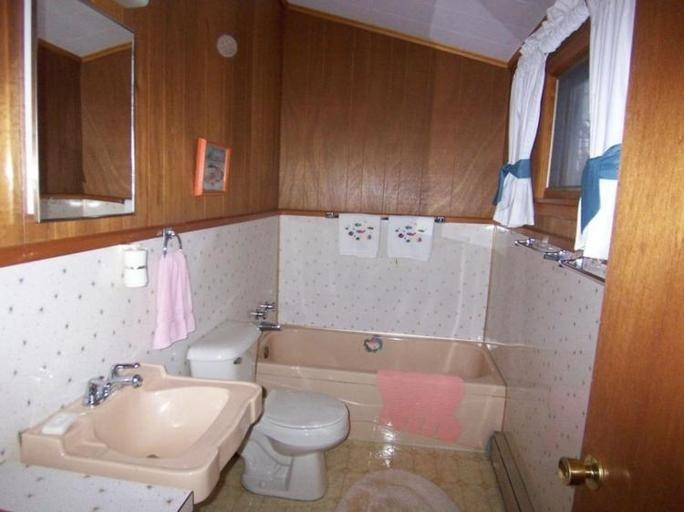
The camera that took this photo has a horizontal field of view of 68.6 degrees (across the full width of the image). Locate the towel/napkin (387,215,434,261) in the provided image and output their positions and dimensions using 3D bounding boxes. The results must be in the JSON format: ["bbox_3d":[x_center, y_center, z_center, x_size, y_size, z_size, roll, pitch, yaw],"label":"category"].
[{"bbox_3d":[0.490,-0.137,3.709,0.305,0.316,0.076,1,14,4],"label":"towel/napkin"}]

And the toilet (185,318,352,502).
[{"bbox_3d":[-0.328,0.814,2.600,0.786,0.816,0.478,8,15,12],"label":"toilet"}]

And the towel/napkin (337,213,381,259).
[{"bbox_3d":[0.109,-0.139,3.738,0.099,0.463,0.454,-3,12,-30],"label":"towel/napkin"}]

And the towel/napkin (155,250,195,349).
[{"bbox_3d":[-0.714,0.186,2.141,0.126,0.401,0.249,2,12,-6],"label":"towel/napkin"}]

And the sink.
[{"bbox_3d":[-0.642,0.580,1.695,0.624,0.212,0.515,6,13,13],"label":"sink"}]

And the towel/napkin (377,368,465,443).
[{"bbox_3d":[0.465,0.889,2.938,0.420,0.371,0.031,1,18,6],"label":"towel/napkin"}]

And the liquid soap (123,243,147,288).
[{"bbox_3d":[-0.782,0.047,1.875,0.099,0.173,0.073,14,16,41],"label":"liquid soap"}]
